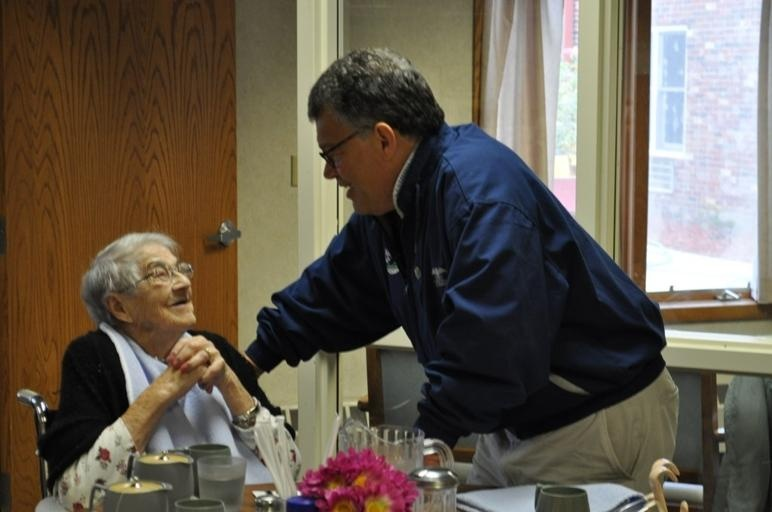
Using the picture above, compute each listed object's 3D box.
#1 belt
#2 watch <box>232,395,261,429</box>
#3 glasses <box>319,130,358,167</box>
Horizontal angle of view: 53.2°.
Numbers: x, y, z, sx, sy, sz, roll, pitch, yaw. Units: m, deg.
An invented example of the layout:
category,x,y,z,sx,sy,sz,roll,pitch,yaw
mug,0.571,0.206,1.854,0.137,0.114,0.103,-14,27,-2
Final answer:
category,x,y,z,sx,sy,sz,roll,pitch,yaw
belt,0.656,0.464,2.483,0.490,0.167,0.104,-4,-3,2
watch,-0.494,0.543,2.673,0.049,0.076,0.084,35,6,-17
glasses,-0.154,-0.353,2.521,0.105,0.032,0.103,-46,2,5
